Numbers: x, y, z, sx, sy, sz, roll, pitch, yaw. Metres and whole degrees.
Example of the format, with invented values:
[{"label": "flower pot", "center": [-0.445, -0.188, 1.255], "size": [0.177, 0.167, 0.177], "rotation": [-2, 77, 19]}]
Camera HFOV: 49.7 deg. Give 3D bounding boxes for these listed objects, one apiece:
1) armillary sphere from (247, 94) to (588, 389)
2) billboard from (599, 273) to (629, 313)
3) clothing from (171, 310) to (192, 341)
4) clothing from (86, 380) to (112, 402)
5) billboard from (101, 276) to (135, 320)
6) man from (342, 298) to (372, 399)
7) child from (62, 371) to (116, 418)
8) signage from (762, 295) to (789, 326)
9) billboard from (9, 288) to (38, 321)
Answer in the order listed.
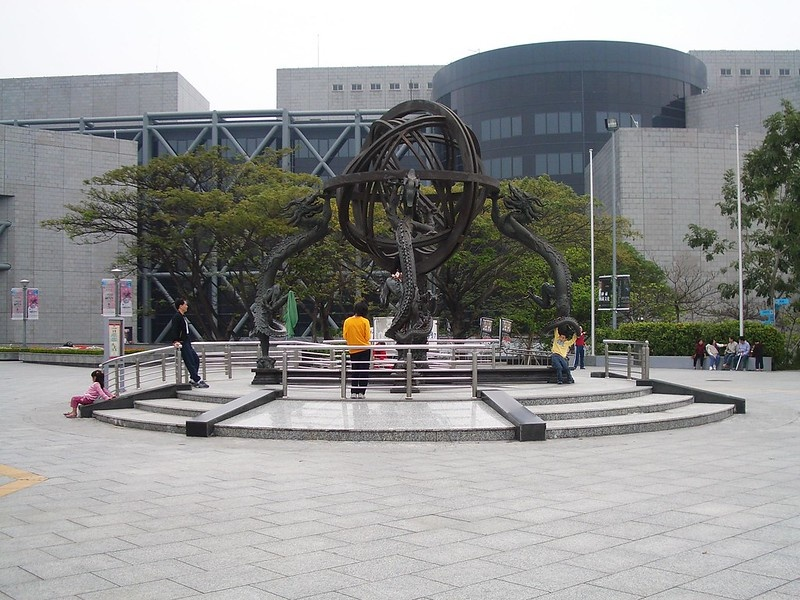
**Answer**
[{"label": "armillary sphere", "center": [0.367, -1.328, 20.741], "size": [7.962, 6.150, 7.602], "rotation": [1, -8, 1]}, {"label": "billboard", "center": [9.014, -0.288, 35.698], "size": [1.863, 1.803, 0.322], "rotation": [0, -1, 1]}, {"label": "clothing", "center": [-4.528, 0.568, 17.833], "size": [0.310, 0.457, 0.453], "rotation": [-1, 0, -13]}, {"label": "clothing", "center": [-6.508, 1.994, 18.668], "size": [0.274, 0.330, 0.560], "rotation": [4, -11, -7]}, {"label": "billboard", "center": [-14.804, -0.272, 45.280], "size": [1.098, 2.273, 17.248], "rotation": [-1, 0, -17]}, {"label": "man", "center": [-0.827, 0.996, 17.438], "size": [0.536, 1.566, 1.561], "rotation": [-1, 0, -3]}, {"label": "child", "center": [-6.715, 1.977, 18.600], "size": [1.163, 0.929, 0.640], "rotation": [-3, -5, -2]}, {"label": "signage", "center": [17.747, 0.446, 40.148], "size": [1.849, 1.707, 0.122], "rotation": [-2, -18, 32]}, {"label": "billboard", "center": [-21.653, 0.231, 49.522], "size": [2.142, 2.191, 0.174], "rotation": [3, -19, -36]}]
